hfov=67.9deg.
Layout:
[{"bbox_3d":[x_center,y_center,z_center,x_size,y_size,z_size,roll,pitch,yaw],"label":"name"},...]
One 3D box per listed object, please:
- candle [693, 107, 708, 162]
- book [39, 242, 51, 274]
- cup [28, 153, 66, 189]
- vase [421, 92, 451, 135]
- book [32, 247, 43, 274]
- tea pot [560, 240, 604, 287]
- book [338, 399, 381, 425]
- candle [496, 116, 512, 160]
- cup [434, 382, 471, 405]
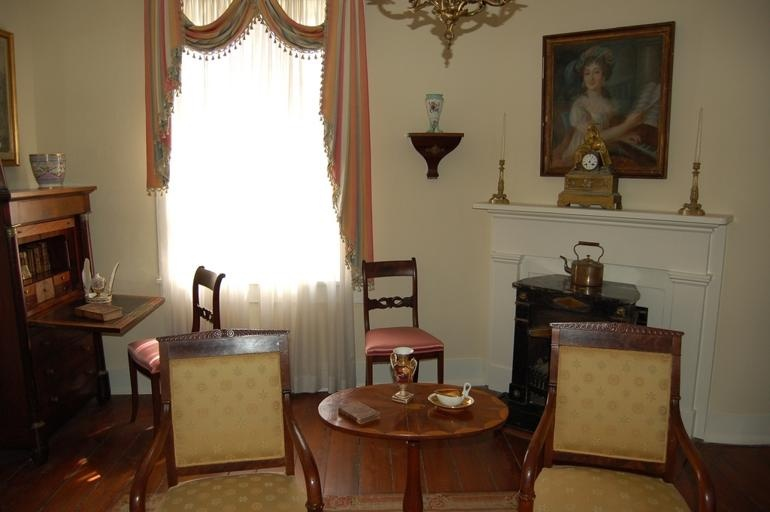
[{"bbox_3d":[2.528,-0.984,4.609,0.057,0.453,0.236,4,9,28],"label":"candle"},{"bbox_3d":[-2.963,0.019,4.983,0.086,0.240,0.248,-3,-6,-22],"label":"book"},{"bbox_3d":[-2.812,-0.714,4.801,0.286,0.317,0.283,0,2,0],"label":"cup"},{"bbox_3d":[0.459,-1.335,5.289,0.168,0.385,0.295,1,8,5],"label":"vase"},{"bbox_3d":[-2.969,0.035,4.889,0.063,0.188,0.197,-2,9,-18],"label":"book"},{"bbox_3d":[1.699,0.054,4.865,0.309,0.360,0.446,3,8,21],"label":"tea pot"},{"bbox_3d":[-0.174,1.002,3.663,0.143,0.035,0.143,-4,13,-42],"label":"book"},{"bbox_3d":[1.094,-1.123,5.334,0.084,0.427,0.114,4,9,27],"label":"candle"},{"bbox_3d":[0.441,0.936,3.811,0.188,0.119,0.164,-1,-2,-7],"label":"cup"}]
